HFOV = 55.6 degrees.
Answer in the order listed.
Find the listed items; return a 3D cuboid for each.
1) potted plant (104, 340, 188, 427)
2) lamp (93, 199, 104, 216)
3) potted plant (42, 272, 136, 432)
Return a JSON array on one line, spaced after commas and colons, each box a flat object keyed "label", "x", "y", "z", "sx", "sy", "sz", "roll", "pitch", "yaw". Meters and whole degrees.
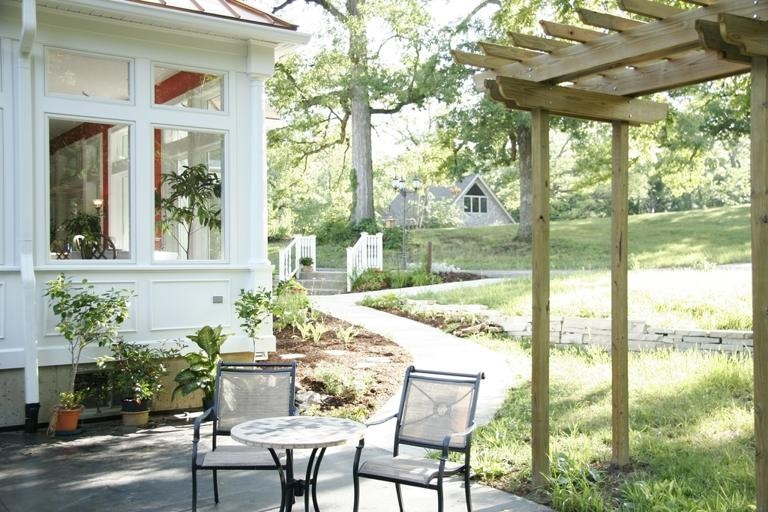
[{"label": "potted plant", "x": -3.323, "y": 1.852, "z": 10.163, "sx": 0.701, "sy": 0.986, "sz": 0.918, "roll": -9, "pitch": -12, "yaw": 2}, {"label": "lamp", "x": -4.060, "y": -0.693, "z": 10.353, "sx": 0.065, "sy": 0.260, "sz": 0.173, "roll": -3, "pitch": 0, "yaw": 34}, {"label": "potted plant", "x": -3.977, "y": 1.255, "z": 9.837, "sx": 1.079, "sy": 2.049, "sz": 0.668, "roll": -3, "pitch": 0, "yaw": -26}]
